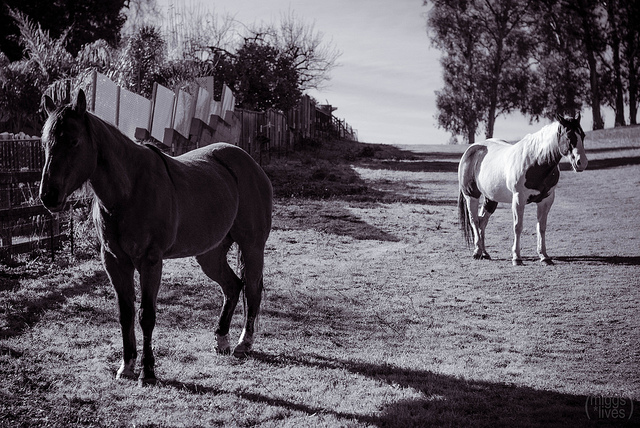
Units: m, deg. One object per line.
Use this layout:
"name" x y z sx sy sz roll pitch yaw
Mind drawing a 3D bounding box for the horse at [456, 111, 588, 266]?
"horse" 4.432 -0.396 16.793 1.133 3.239 4.156 -1 -1 -25

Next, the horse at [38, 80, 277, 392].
"horse" -2.447 0.491 12.020 1.412 4.337 5.017 0 -1 33
